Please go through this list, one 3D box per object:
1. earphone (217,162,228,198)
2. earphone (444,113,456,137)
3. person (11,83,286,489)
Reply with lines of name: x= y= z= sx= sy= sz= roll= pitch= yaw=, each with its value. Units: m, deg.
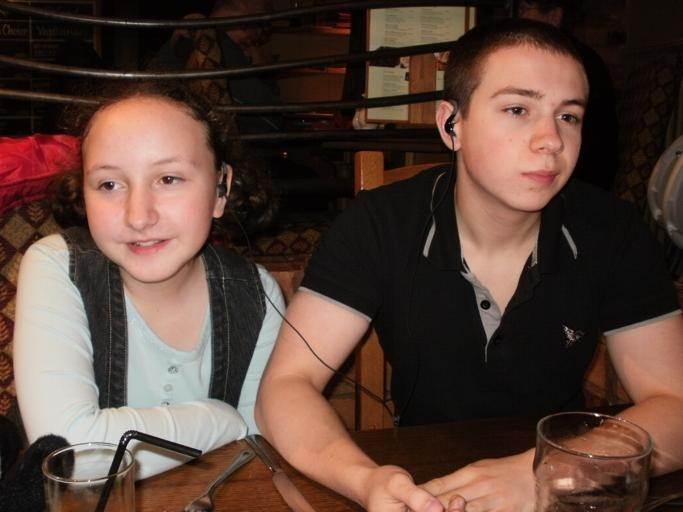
earphone: x=-0.313 y=-0.195 z=1.578 sx=0.019 sy=0.068 sz=0.051 roll=3 pitch=14 yaw=17
earphone: x=0.292 y=-0.355 z=1.593 sx=0.019 sy=0.049 sz=0.036 roll=10 pitch=10 yaw=19
person: x=-0.477 y=0.062 z=1.545 sx=0.641 sy=0.921 sz=0.569 roll=1 pitch=5 yaw=-34
